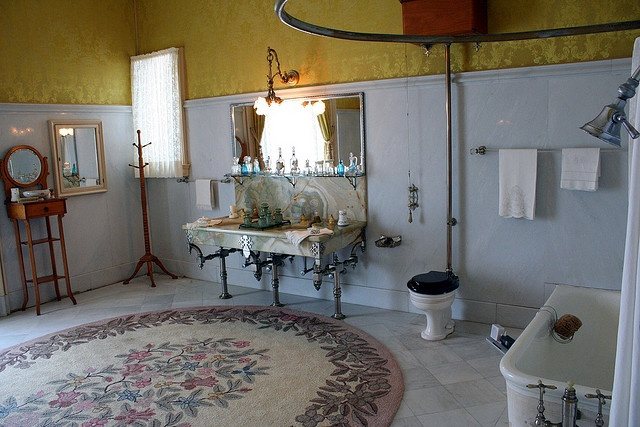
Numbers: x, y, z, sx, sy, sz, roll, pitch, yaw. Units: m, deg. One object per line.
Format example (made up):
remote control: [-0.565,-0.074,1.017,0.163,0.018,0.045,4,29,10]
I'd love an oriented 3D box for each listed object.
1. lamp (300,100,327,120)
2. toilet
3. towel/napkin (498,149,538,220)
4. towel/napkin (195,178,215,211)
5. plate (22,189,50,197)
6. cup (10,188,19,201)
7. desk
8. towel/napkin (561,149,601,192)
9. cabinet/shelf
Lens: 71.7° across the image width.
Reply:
lamp: [-0.071,-1.281,5.396,0.312,0.204,0.050,2,13,31]
toilet: [1.215,0.976,4.708,0.538,0.660,0.309,-5,11,-5]
towel/napkin: [2.028,-0.314,4.573,0.340,0.706,0.090,3,14,31]
towel/napkin: [-1.608,-0.286,6.272,0.422,0.529,0.113,6,18,31]
plate: [-3.606,-0.249,5.696,0.181,0.103,0.336,4,13,36]
cup: [-3.794,-0.235,5.523,0.108,0.171,0.103,-4,11,1]
desk: [-0.323,0.615,5.551,2.500,1.185,1.171,2,7,30]
towel/napkin: [2.545,-0.438,4.310,0.424,0.482,0.194,2,4,33]
cabinet/shelf: [-3.553,0.517,5.774,0.739,1.417,0.558,-13,15,-39]
